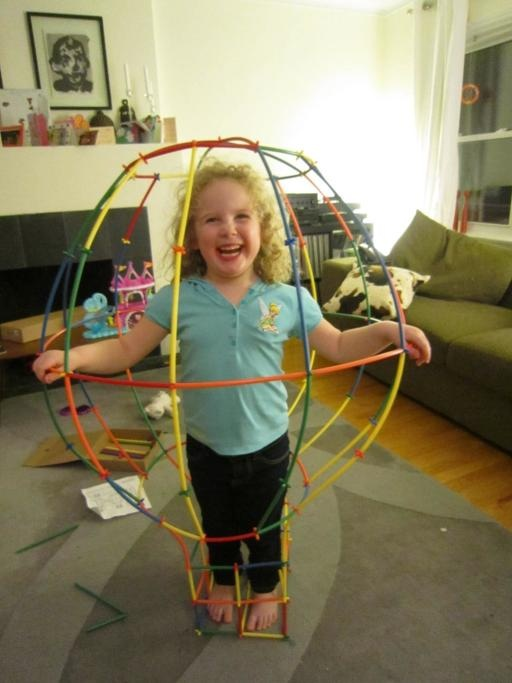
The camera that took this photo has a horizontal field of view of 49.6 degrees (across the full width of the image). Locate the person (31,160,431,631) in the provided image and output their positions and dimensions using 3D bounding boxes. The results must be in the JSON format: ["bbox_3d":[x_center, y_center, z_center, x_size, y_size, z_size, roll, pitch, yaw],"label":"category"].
[{"bbox_3d":[-0.074,0.150,1.136,0.661,0.972,0.441,-11,23,-22],"label":"person"}]

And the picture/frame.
[{"bbox_3d":[-0.977,-1.458,2.856,0.504,0.562,0.021,-11,23,-23],"label":"picture/frame"}]
